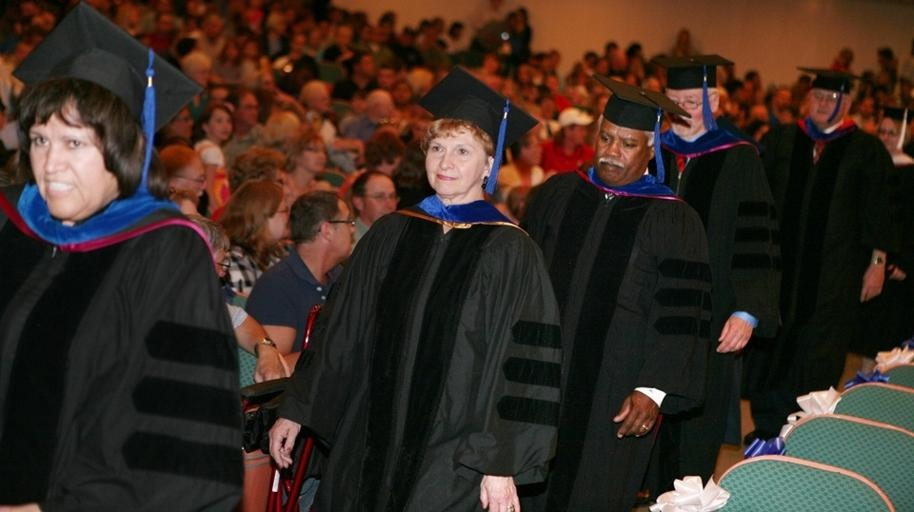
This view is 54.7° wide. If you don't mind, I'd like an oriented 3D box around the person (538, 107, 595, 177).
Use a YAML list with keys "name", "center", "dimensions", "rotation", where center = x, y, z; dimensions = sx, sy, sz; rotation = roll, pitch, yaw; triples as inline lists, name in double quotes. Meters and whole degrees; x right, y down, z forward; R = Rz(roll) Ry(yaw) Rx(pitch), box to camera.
- name: "person"
  center: [1.271, -1.385, 10.845]
  dimensions: [0.680, 0.980, 0.714]
  rotation: [-4, 12, -14]

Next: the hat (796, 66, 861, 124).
- name: "hat"
  center: [2.984, -1.330, 7.118]
  dimensions: [0.343, 0.552, 0.432]
  rotation: [0, -17, 20]

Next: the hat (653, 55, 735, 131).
- name: "hat"
  center: [1.689, -1.245, 6.615]
  dimensions: [0.575, 0.577, 0.600]
  rotation: [-8, 8, -37]

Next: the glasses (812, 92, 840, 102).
- name: "glasses"
  center: [2.932, -1.265, 7.068]
  dimensions: [0.143, 0.051, 0.105]
  rotation: [18, -15, -34]
